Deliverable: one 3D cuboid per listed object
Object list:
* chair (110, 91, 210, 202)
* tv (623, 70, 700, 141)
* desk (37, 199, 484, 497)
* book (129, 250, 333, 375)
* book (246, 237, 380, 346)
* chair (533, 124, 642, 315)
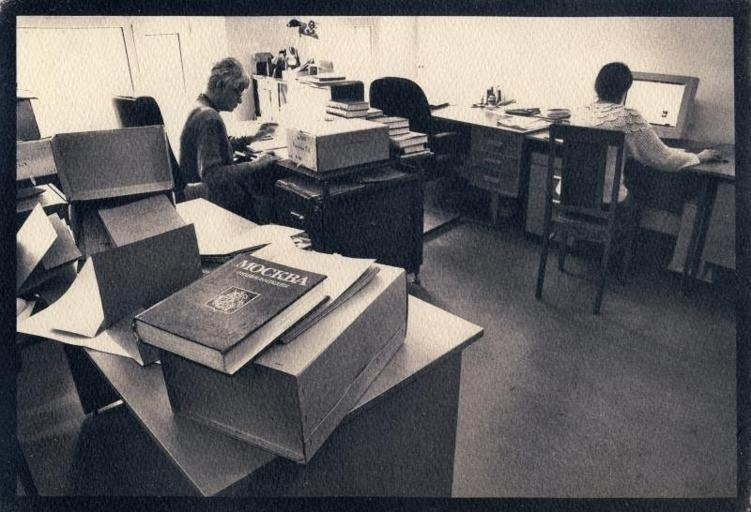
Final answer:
[{"bbox_3d":[-0.438,-0.248,1.256,0.191,0.277,0.149,-22,32,-38],"label":"chair"},{"bbox_3d":[0.536,-0.283,1.115,0.127,0.116,0.045,4,23,15],"label":"tv"},{"bbox_3d":[-0.151,0.254,1.187,0.521,0.363,0.677,-24,43,-34],"label":"desk"},{"bbox_3d":[-0.255,0.095,1.067,0.213,0.053,0.223,12,34,28],"label":"book"},{"bbox_3d":[-0.123,0.029,1.103,0.177,0.057,0.190,24,43,38],"label":"book"},{"bbox_3d":[0.421,-0.101,1.202,0.184,0.370,0.188,-18,30,-27],"label":"chair"}]
